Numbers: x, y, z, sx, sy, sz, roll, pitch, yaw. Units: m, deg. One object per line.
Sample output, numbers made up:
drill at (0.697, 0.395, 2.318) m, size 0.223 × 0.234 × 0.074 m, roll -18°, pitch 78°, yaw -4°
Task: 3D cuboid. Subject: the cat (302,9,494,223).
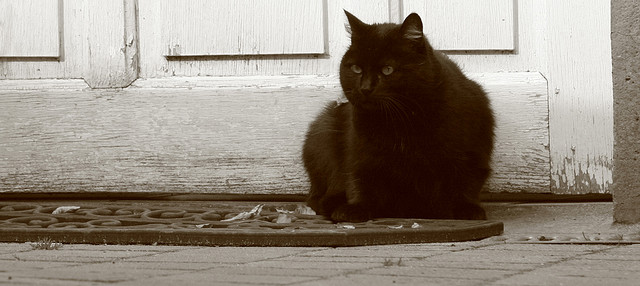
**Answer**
cat at (0.767, -0.205, 6.496) m, size 1.708 × 1.172 × 2.557 m, roll 3°, pitch 0°, yaw 11°
